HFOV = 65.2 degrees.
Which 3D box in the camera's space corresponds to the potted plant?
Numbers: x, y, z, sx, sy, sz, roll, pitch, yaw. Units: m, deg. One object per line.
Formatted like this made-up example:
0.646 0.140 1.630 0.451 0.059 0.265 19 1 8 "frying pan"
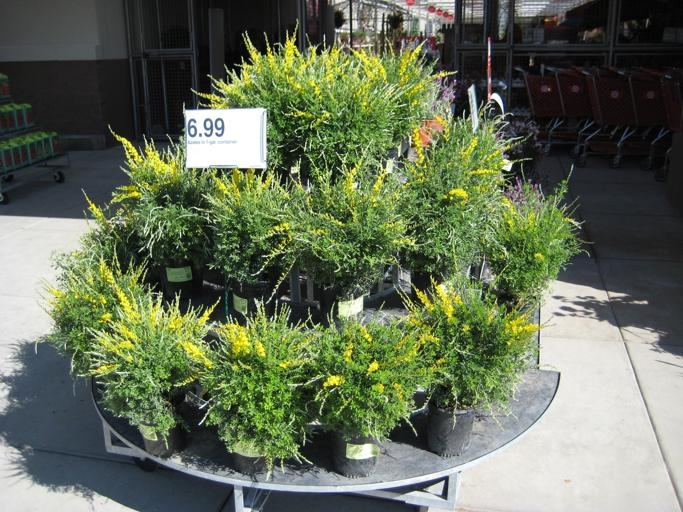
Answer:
-0.237 0.080 3.135 2.056 1.629 2.342 1 39 2 "potted plant"
